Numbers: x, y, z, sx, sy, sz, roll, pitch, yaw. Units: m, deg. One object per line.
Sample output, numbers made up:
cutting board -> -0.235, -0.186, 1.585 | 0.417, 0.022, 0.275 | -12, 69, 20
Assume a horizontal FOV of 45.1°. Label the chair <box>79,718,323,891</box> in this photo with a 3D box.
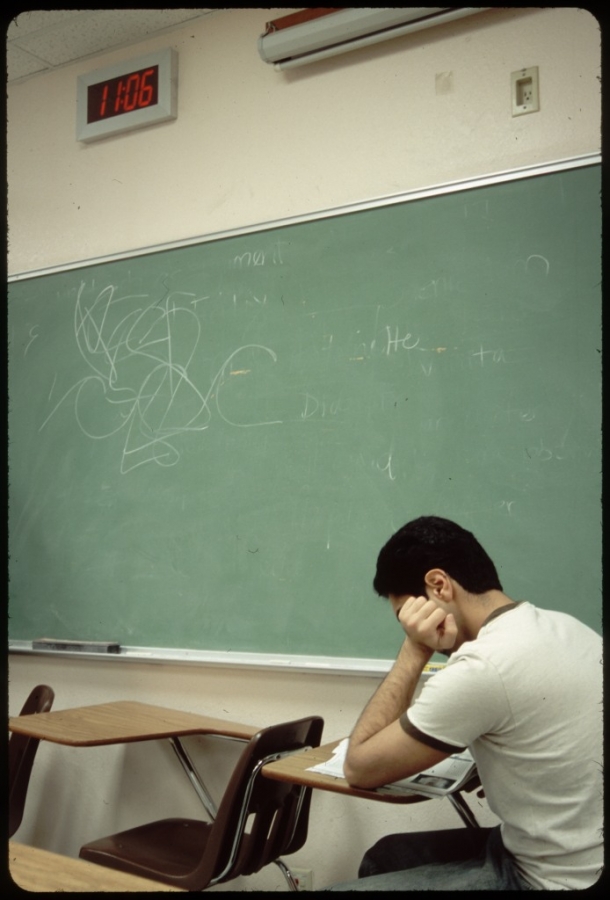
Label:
chair -> -0.246, 0.737, 1.788 | 0.552, 0.400, 0.414 | -3, -10, 31
